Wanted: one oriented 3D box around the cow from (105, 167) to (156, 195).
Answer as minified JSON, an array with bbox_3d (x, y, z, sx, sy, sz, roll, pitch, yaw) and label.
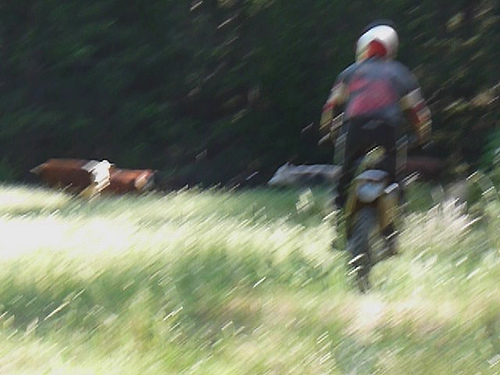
[{"bbox_3d":[-1.732,-0.098,15.756,0.415,0.121,0.460,3,26,9],"label":"cow"}]
